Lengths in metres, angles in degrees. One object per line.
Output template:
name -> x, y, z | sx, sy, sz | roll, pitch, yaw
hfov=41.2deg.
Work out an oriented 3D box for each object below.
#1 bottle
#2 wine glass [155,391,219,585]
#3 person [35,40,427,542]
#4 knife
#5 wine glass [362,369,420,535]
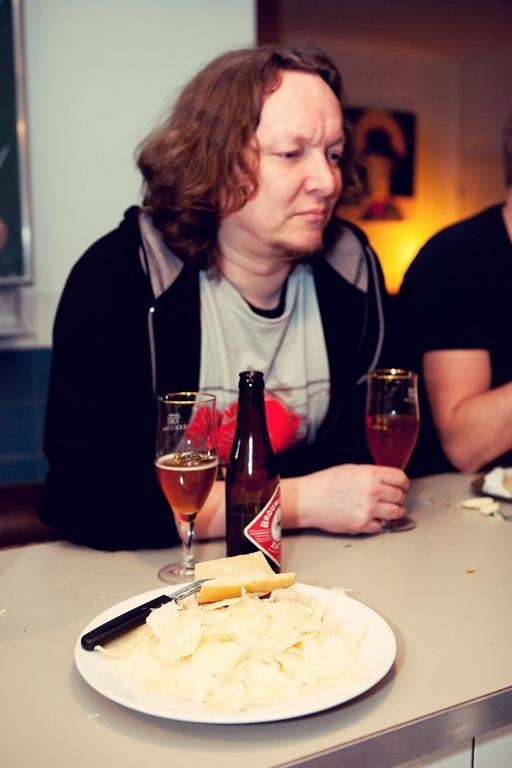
bottle -> -0.003, 0.102, 0.764 | 0.061, 0.233, 0.083 | 0, 7, -2
wine glass -> -0.085, 0.121, 0.826 | 0.070, 0.217, 0.199 | -1, 7, -8
person -> 0.002, -0.171, 1.430 | 0.847, 0.959, 0.608 | -5, 9, -34
knife -> -0.100, 0.214, 0.629 | 0.019, 0.014, 0.125 | 15, 25, 38
wine glass -> 0.195, 0.058, 0.978 | 0.072, 0.139, 0.096 | 1, 7, 9
